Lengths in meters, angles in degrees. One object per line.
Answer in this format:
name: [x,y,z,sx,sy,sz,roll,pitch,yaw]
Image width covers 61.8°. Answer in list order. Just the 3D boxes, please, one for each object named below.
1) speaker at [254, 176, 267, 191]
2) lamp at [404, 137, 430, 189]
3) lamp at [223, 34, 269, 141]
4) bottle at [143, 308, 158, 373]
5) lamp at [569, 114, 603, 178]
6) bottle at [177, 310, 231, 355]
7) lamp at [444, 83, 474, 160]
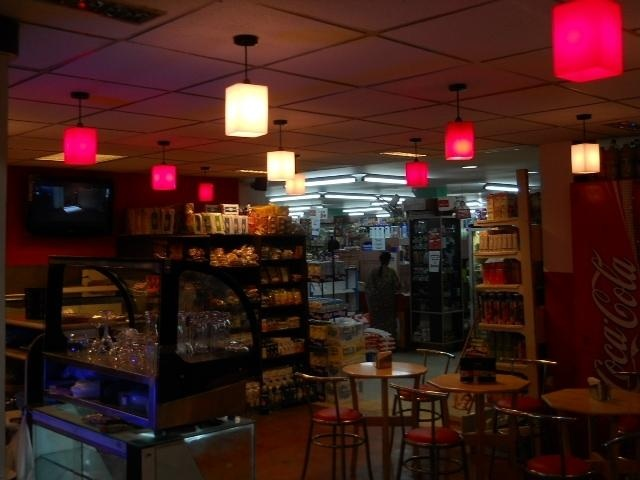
speaker: [-1.340,-1.253,11.791,0.303,0.227,0.141,2,12,17]
lamp: [1.271,-1.044,7.131,0.328,0.589,0.286,-1,8,9]
lamp: [-0.575,-1.214,4.142,0.536,0.641,0.464,1,17,-2]
bottle: [-1.163,0.693,3.652,0.085,0.363,0.488,-4,2,-18]
lamp: [3.214,-1.128,6.498,0.327,0.657,0.981,-3,1,27]
bottle: [-0.870,0.671,3.885,0.404,0.267,0.196,-4,1,-28]
lamp: [1.330,-1.172,5.258,0.340,0.671,0.314,3,13,29]
